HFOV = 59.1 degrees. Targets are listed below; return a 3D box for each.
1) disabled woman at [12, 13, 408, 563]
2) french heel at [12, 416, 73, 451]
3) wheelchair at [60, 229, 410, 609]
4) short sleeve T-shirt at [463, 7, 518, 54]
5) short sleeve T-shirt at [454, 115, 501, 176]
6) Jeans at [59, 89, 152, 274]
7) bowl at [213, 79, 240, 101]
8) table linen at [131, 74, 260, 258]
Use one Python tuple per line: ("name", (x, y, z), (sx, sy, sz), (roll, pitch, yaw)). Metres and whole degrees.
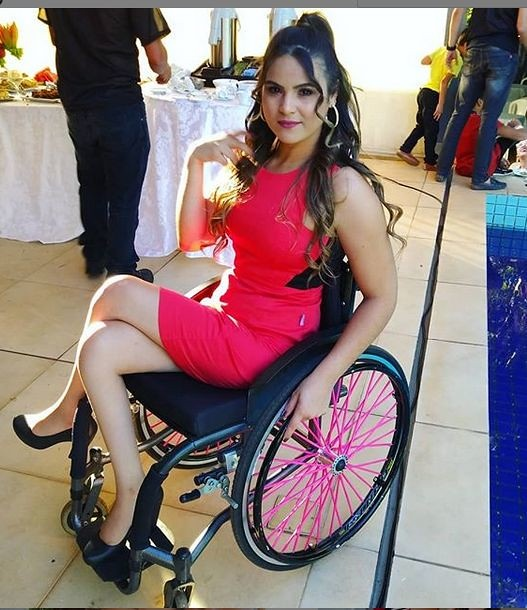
("disabled woman", (-0.053, -0.066, 0.936), (0.613, 0.912, 0.535), (-4, 27, -11))
("french heel", (-0.477, 0.276, 1.033), (0.136, 0.055, 0.075), (6, 18, -27))
("wheelchair", (-0.127, 0.173, 1.332), (0.865, 0.986, 0.699), (-6, 25, -37))
("short sleeve T-shirt", (1.791, -2.190, 3.815), (0.483, 0.336, 0.602), (5, 31, 25))
("short sleeve T-shirt", (2.052, -1.499, 4.432), (0.391, 0.547, 0.293), (7, 14, 13))
("Jeans", (-0.728, -0.561, 2.207), (0.357, 0.789, 0.258), (11, 24, 19))
("bowl", (-0.194, -1.095, 2.375), (0.119, 0.079, 0.119), (-1, 16, 0))
("table linen", (-0.487, -0.685, 2.606), (0.564, 0.719, 0.548), (10, 0, -33))
